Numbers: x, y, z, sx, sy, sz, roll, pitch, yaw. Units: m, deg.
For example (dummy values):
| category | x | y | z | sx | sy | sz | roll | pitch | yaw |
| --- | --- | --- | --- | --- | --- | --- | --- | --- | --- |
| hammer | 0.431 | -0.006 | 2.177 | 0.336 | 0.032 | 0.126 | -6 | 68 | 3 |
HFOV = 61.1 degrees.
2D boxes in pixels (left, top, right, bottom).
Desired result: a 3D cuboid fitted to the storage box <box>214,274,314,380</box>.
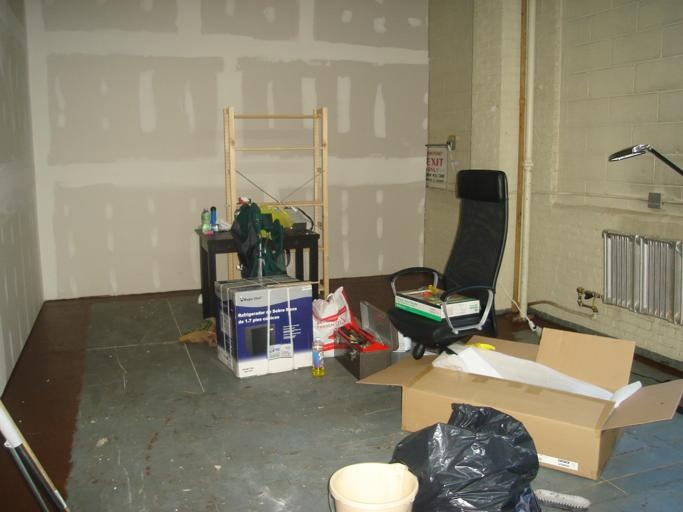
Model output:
| category | x | y | z | sx | sy | sz | roll | pitch | yaw |
| --- | --- | --- | --- | --- | --- | --- | --- | --- | --- |
| storage box | -0.620 | 0.524 | 4.739 | 0.697 | 0.756 | 0.728 | 0 | 4 | -29 |

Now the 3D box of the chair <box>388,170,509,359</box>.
| category | x | y | z | sx | sy | sz | roll | pitch | yaw |
| --- | --- | --- | --- | --- | --- | --- | --- | --- | --- |
| chair | 0.775 | 0.168 | 4.288 | 0.762 | 1.521 | 0.764 | -8 | 13 | -34 |

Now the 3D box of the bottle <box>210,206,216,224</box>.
| category | x | y | z | sx | sy | sz | roll | pitch | yaw |
| --- | --- | --- | --- | --- | --- | --- | --- | --- | --- |
| bottle | -1.266 | -0.390 | 5.693 | 0.067 | 0.167 | 0.295 | -6 | 11 | -15 |
